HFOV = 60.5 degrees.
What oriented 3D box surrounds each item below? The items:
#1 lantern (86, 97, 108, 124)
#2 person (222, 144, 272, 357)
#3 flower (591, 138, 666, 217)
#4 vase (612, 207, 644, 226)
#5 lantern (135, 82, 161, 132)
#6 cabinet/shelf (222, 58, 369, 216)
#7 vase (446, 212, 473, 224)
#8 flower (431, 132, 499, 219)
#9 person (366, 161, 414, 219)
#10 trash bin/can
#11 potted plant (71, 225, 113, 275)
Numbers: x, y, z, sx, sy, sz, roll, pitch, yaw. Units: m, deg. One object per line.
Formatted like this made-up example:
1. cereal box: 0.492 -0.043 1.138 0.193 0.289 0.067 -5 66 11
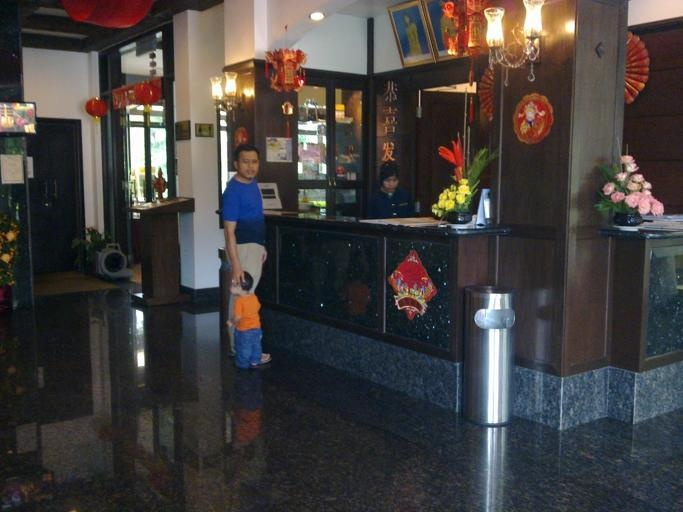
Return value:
1. lantern: -4.095 -2.416 9.770 0.360 0.419 0.388 -1 6 -3
2. person: -0.871 -0.343 5.338 0.436 1.303 0.295 -7 8 -29
3. flower: 2.126 -0.569 4.432 0.482 0.521 0.486 1 3 19
4. vase: 2.103 -0.275 4.320 0.135 0.090 0.141 0 0 9
5. lantern: -2.785 -2.220 8.511 0.368 0.694 0.829 -5 9 -18
6. cabinet/shelf: -0.597 -1.493 7.095 2.021 2.059 0.779 -2 9 -28
7. vase: 0.900 -0.287 4.470 0.096 0.053 0.118 -2 2 -38
8. flower: 0.967 -0.604 4.555 0.385 0.610 0.452 3 10 35
9. person: 0.541 -0.576 6.430 0.479 0.785 0.389 -1 -15 -7
10. trash bin/can: 1.078 0.744 4.312 0.366 0.989 0.186 0 8 17
11. potted plant: -4.267 -0.111 9.900 0.771 0.816 0.767 -2 3 -36
